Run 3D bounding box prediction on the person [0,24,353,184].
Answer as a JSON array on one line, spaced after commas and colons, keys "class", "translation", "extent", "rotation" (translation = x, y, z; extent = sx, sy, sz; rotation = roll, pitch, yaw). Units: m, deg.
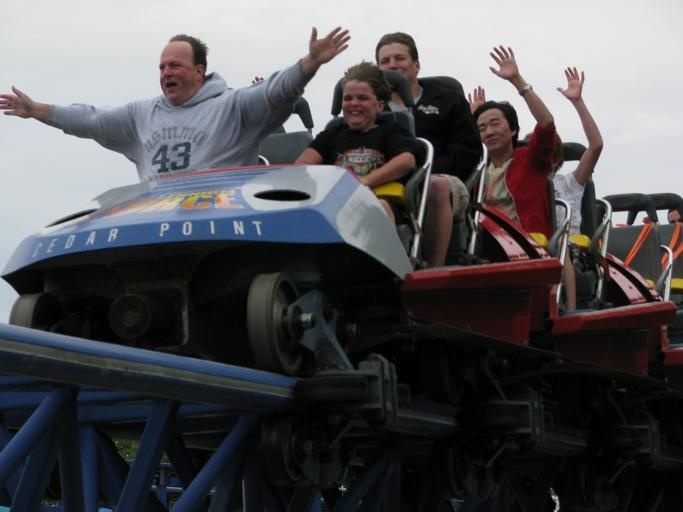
[{"class": "person", "translation": [-0.896, -0.948, 6.723], "extent": [1.706, 0.479, 1.211], "rotation": [-8, 39, 5]}]
